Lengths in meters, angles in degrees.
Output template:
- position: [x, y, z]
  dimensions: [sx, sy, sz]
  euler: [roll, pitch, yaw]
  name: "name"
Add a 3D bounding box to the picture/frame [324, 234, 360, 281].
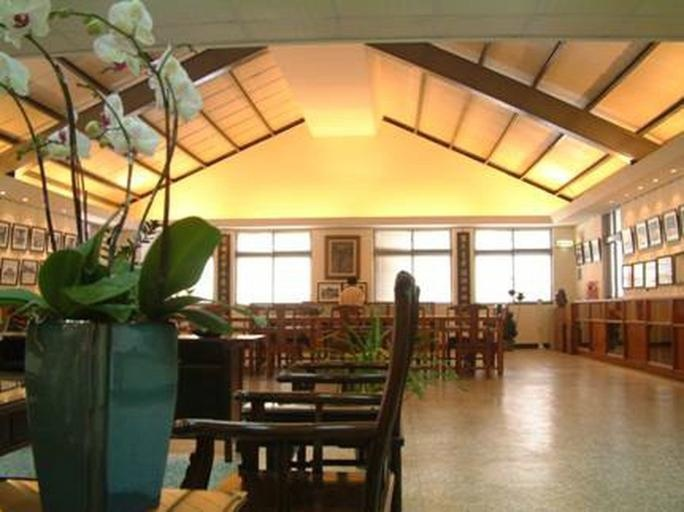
- position: [0.047, 0.066, 13.408]
  dimensions: [1.152, 1.333, 0.095]
  euler: [0, -5, 3]
  name: "picture/frame"
